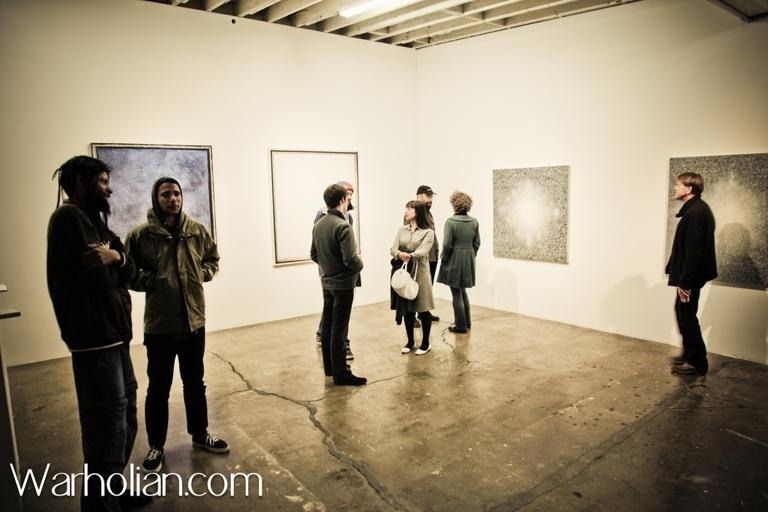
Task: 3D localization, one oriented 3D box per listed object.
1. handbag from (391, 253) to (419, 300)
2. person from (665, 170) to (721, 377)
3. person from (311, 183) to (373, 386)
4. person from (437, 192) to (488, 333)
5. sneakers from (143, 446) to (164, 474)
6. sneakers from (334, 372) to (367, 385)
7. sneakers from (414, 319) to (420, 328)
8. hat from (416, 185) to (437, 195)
[{"bbox_3d":[0.223,0.243,6.154,0.279,0.375,0.187,-11,-13,32],"label":"handbag"},{"bbox_3d":[3.575,0.211,5.845,0.495,2.307,0.419,5,9,32],"label":"person"},{"bbox_3d":[-0.503,0.341,5.701,0.411,2.266,0.754,-5,9,-33],"label":"person"},{"bbox_3d":[1.074,0.268,7.252,0.608,1.672,0.322,0,8,-1],"label":"person"},{"bbox_3d":[-2.060,1.806,4.473,0.104,0.106,0.265,4,6,-7],"label":"sneakers"},{"bbox_3d":[-0.397,1.420,5.827,0.394,0.170,0.147,0,-1,-8],"label":"sneakers"},{"bbox_3d":[0.489,1.029,7.661,0.069,0.149,0.202,2,-18,-18],"label":"sneakers"},{"bbox_3d":[0.634,-0.960,7.396,0.241,0.138,0.182,-3,6,-14],"label":"hat"}]
